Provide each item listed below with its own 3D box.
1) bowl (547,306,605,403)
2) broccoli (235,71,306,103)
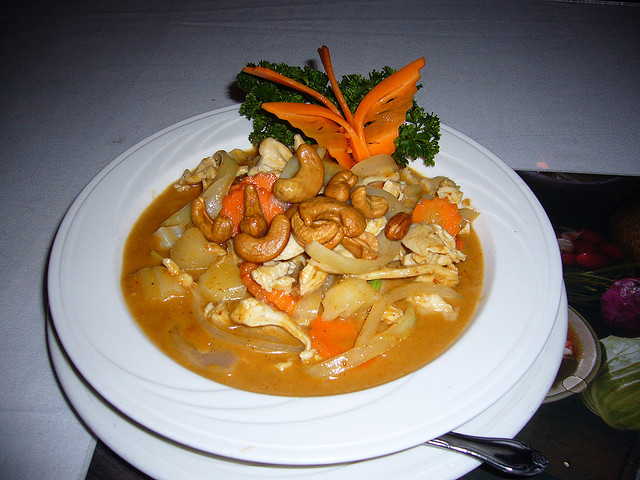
[{"bbox_3d":[1.959,0.796,4.028,0.158,0.698,0.661,-31,66,17],"label":"bowl"},{"bbox_3d":[-0.449,-1.319,4.565,0.493,0.329,0.180,33,117,25],"label":"broccoli"}]
